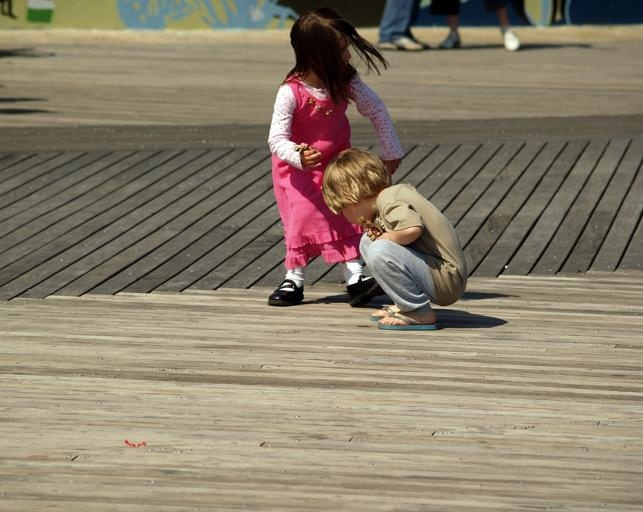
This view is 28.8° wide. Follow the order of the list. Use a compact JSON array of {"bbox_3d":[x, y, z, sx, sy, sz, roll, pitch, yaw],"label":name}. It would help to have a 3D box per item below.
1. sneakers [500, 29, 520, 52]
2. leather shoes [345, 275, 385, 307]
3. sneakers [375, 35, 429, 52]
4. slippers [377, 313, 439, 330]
[{"bbox_3d":[1.080,-1.225,7.151,0.070,0.121,0.062,-34,-4,20],"label":"sneakers"},{"bbox_3d":[0.164,0.148,5.090,0.219,0.077,0.074,-27,-6,31],"label":"leather shoes"},{"bbox_3d":[0.482,-1.239,7.324,0.322,0.084,0.096,0,7,9],"label":"sneakers"},{"bbox_3d":[0.335,0.254,4.786,0.239,0.046,0.071,1,3,4],"label":"slippers"}]
